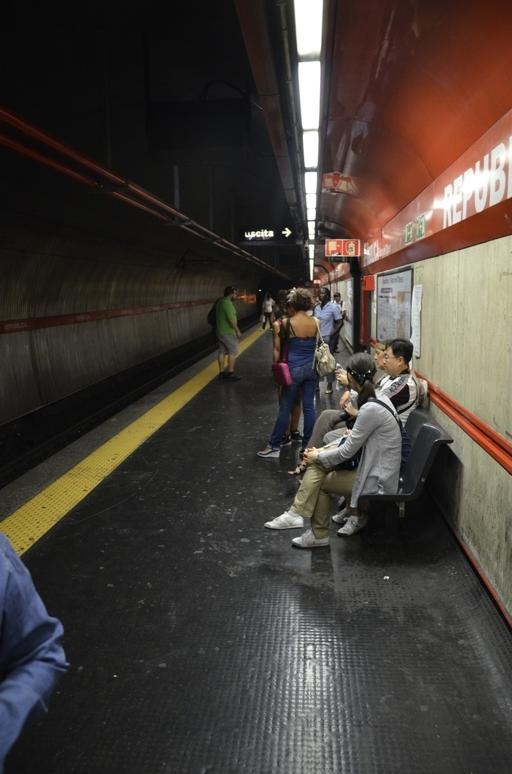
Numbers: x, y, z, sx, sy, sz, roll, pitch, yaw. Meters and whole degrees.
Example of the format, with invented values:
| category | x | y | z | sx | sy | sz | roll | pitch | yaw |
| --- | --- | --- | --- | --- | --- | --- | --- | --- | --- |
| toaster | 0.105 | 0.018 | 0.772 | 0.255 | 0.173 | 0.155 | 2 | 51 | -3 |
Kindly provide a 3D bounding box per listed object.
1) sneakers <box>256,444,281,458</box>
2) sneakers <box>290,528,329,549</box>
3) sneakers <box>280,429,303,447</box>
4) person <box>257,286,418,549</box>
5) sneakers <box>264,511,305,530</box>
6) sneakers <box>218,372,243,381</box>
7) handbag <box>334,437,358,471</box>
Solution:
| category | x | y | z | sx | sy | sz | roll | pitch | yaw |
| --- | --- | --- | --- | --- | --- | --- | --- | --- | --- |
| sneakers | 0.145 | 0.738 | 5.224 | 0.267 | 0.170 | 0.123 | 2 | 4 | 3 |
| sneakers | 0.399 | 1.117 | 3.307 | 0.265 | 0.160 | 0.117 | 2 | 2 | -2 |
| sneakers | 0.466 | 0.635 | 5.764 | 0.116 | 0.173 | 0.364 | 2 | -6 | -15 |
| person | 0.627 | 0.463 | 3.269 | 0.865 | 1.411 | 0.557 | 2 | 8 | 19 |
| sneakers | 0.239 | 1.048 | 3.593 | 0.347 | 0.183 | 0.150 | 0 | 0 | 1 |
| sneakers | -0.555 | -0.269 | 9.600 | 0.465 | 0.246 | 0.189 | 2 | 6 | -1 |
| handbag | 0.671 | 0.461 | 3.248 | 0.137 | 0.223 | 0.222 | 4 | 42 | 21 |
